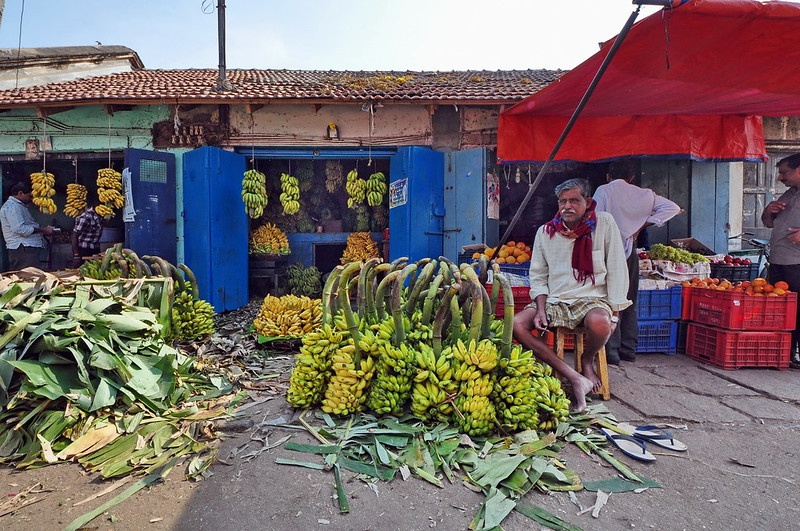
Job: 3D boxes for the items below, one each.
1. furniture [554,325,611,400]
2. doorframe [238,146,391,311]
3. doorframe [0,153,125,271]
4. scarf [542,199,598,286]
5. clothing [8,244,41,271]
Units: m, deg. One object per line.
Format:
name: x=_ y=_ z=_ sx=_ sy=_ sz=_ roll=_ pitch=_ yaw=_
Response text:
furniture: x=1.959 y=0.986 z=6.298 sx=0.505 sy=0.630 sz=0.473 roll=8 pitch=-10 yaw=-42
doorframe: x=-1.540 y=-0.689 z=10.215 sx=2.708 sy=2.678 sz=0.916 roll=-1 pitch=0 yaw=-9
doorframe: x=-5.818 y=-0.918 z=10.231 sx=2.197 sy=2.156 sz=1.219 roll=-1 pitch=3 yaw=-6
scarf: x=1.814 y=-0.256 z=6.304 sx=0.510 sy=0.910 sz=0.229 roll=0 pitch=24 yaw=17
clothing: x=-6.015 y=-0.150 z=9.531 sx=0.408 sy=0.584 sz=0.325 roll=1 pitch=-1 yaw=-30
